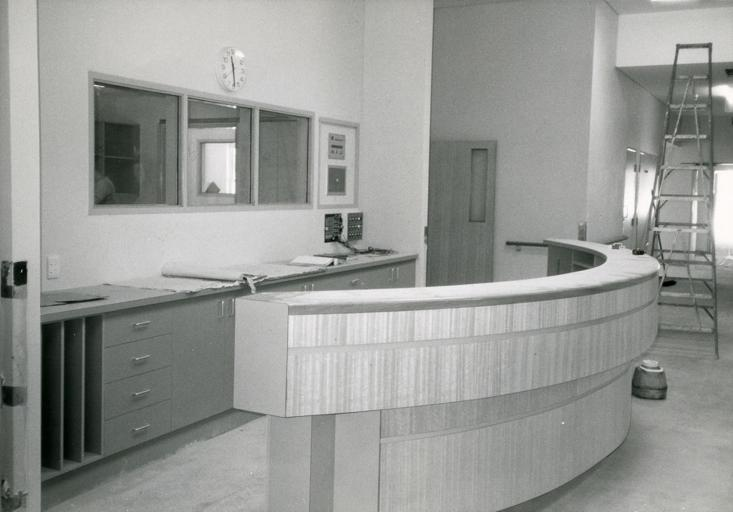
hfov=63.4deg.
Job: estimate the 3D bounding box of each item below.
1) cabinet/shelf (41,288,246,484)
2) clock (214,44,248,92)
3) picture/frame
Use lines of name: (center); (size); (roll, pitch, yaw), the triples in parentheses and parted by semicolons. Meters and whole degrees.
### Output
cabinet/shelf: (-1.491, 0.846, 3.848); (0.415, 0.709, 1.208); (2, 3, 28)
clock: (-1.188, -1.638, 5.234); (0.050, 0.363, 0.371); (9, 19, 26)
picture/frame: (-0.321, -1.064, 6.695); (0.148, 1.266, 1.036); (2, 4, 31)
